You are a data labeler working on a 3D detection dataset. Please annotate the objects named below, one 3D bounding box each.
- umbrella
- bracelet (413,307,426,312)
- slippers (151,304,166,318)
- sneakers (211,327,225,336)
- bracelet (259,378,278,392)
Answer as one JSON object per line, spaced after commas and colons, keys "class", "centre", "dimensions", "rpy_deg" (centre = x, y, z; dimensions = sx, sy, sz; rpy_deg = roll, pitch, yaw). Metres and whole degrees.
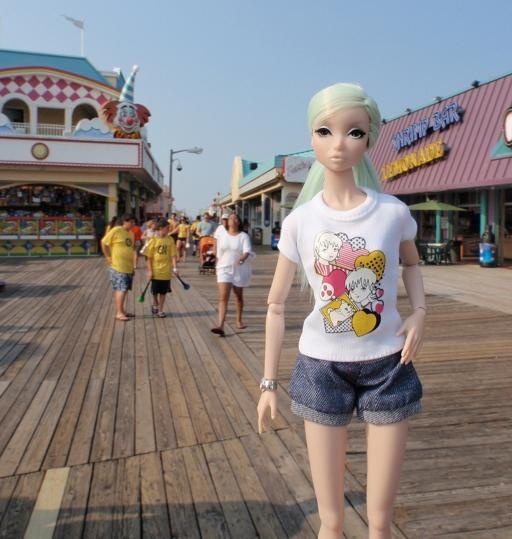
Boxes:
{"class": "umbrella", "centre": [6.886, -1.929, 18.732], "dimensions": [1.756, 1.662, 1.763], "rpy_deg": [-1, 19, 15]}
{"class": "bracelet", "centre": [0.547, 0.130, 1.620], "dimensions": [0.020, 0.011, 0.022], "rpy_deg": [-4, 10, -33]}
{"class": "slippers", "centre": [-1.686, 0.695, 8.302], "dimensions": [0.228, 0.183, 0.480], "rpy_deg": [3, -1, -12]}
{"class": "sneakers", "centre": [-0.540, 0.851, 6.774], "dimensions": [0.191, 0.143, 0.260], "rpy_deg": [2, 6, -3]}
{"class": "bracelet", "centre": [0.037, 0.396, 1.697], "dimensions": [0.061, 0.039, 0.063], "rpy_deg": [7, -5, -15]}
